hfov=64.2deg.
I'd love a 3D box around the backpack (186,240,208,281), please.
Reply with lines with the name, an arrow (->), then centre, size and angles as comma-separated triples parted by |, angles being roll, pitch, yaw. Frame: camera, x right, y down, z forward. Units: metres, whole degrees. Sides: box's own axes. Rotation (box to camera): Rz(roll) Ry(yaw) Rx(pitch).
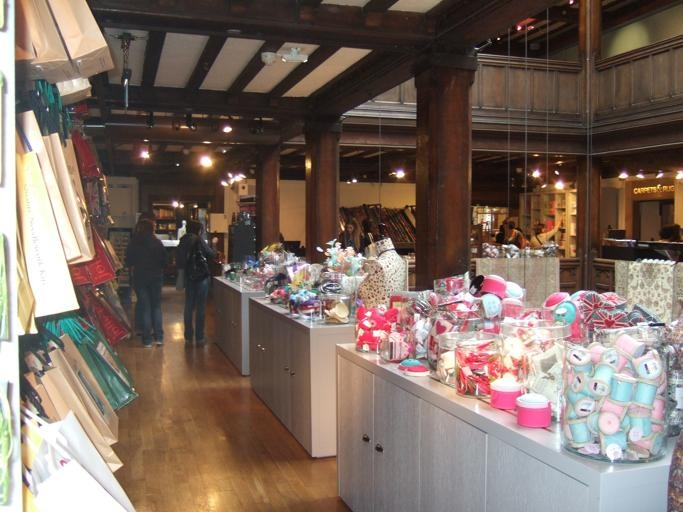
backpack -> -1.903, 0.046, 7.131 | 0.215, 0.513, 0.446 | 5, -7, -10

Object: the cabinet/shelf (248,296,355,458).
cabinet/shelf -> -0.319, 0.886, 4.538 | 0.509, 0.941, 1.632 | -1, 4, -24

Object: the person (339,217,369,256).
person -> 0.321, -0.516, 13.030 | 0.701, 0.835, 1.520 | 0, 4, 1

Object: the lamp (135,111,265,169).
lamp -> -2.252, -1.982, 9.159 | 1.342, 0.355, 1.270 | -2, -3, -15
